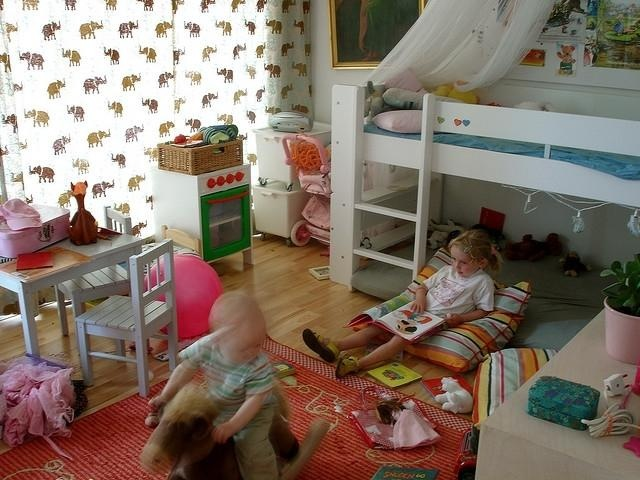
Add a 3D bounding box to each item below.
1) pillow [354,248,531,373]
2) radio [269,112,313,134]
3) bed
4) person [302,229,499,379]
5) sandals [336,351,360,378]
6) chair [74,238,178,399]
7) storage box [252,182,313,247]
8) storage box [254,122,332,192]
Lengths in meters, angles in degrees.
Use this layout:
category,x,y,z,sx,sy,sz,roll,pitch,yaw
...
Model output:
category,x,y,z,sx,sy,sz,roll,pitch,yaw
pillow,0.831,0.285,2.784,0.695,0.228,0.686,-29,26,-27
radio,-0.256,-1.056,4.343,0.324,0.150,0.183,9,29,10
bed,1.059,-0.188,3.185,1.712,1.198,0.684,14,21,41
person,0.554,0.331,2.913,1.330,0.571,0.523,-18,24,-25
sandals,0.151,0.693,2.715,0.138,0.079,0.064,-11,-7,-37
chair,-1.020,0.393,2.614,0.383,0.708,0.416,3,11,12
storage box,-0.382,-0.263,4.515,0.500,0.364,0.478,11,17,31
storage box,-0.209,-0.798,4.459,0.578,0.467,0.582,18,28,37
